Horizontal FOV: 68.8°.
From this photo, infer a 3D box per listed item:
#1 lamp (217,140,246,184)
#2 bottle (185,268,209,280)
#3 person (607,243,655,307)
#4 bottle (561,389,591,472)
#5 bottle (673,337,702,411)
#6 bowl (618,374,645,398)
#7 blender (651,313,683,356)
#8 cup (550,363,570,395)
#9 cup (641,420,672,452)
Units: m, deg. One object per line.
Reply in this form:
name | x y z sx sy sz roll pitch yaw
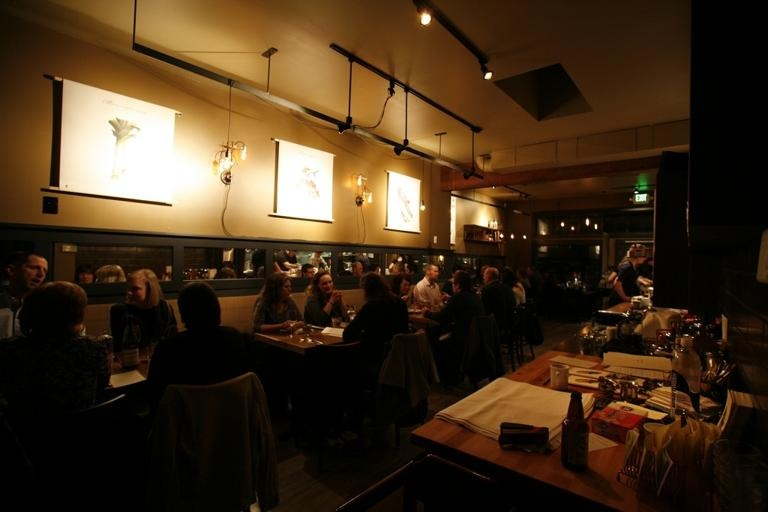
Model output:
lamp | -1.847 -1.155 6.945 0.437 0.573 0.334 -1 4 -35
bottle | -2.273 0.230 6.805 0.241 0.133 0.116 2 -1 -23
person | 3.815 0.315 8.700 0.686 1.333 0.609 -5 38 20
bottle | 1.195 1.083 3.513 0.178 0.462 0.168 1 3 0
bottle | 2.058 0.824 3.825 0.178 0.369 0.283 3 3 30
bowl | 1.793 0.929 4.044 0.335 0.139 0.127 -2 4 -45
blender | 2.319 0.641 4.616 0.200 0.265 0.511 2 4 28
cup | 1.249 0.871 4.021 0.139 0.160 0.163 1 -4 9
cup | 1.635 1.084 3.383 0.144 0.111 0.138 0 -5 0
